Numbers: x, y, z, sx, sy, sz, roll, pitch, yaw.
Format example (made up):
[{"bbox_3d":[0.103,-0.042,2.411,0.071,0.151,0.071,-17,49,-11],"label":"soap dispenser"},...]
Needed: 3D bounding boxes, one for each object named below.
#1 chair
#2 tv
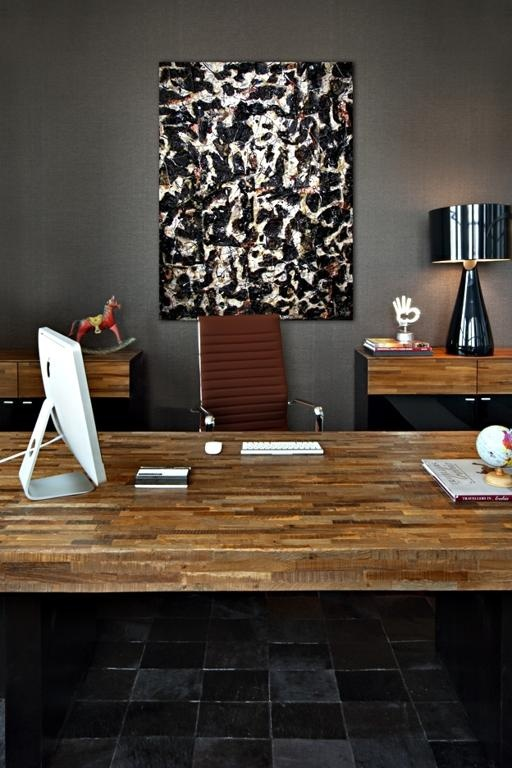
[{"bbox_3d":[-0.064,-0.056,3.270,0.444,0.576,0.215,-2,7,-18],"label":"chair"},{"bbox_3d":[-0.626,0.102,2.120,0.231,0.504,0.532,-5,10,-27],"label":"tv"}]
